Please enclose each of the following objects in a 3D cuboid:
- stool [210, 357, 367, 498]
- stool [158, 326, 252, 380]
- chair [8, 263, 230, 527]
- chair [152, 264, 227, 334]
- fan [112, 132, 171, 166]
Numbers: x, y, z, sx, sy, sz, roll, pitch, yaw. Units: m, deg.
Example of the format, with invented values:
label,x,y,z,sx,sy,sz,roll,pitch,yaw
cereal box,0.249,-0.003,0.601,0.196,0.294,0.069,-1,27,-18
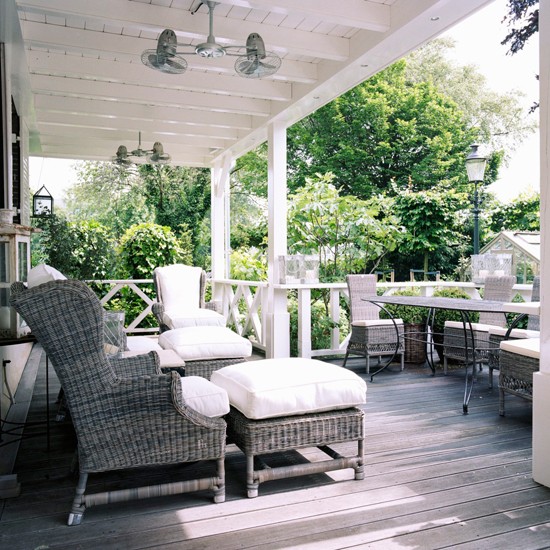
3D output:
label,x,y,z,sx,sy,sz,roll,pitch,yaw
stool,0.053,0.682,2.602,0.623,0.478,0.601,1,-3,-26
stool,-0.574,0.533,3.965,0.463,0.201,0.448,-1,4,-33
chair,-0.663,0.566,2.389,0.920,0.888,0.770,-2,-12,-9
chair,-0.847,0.285,5.039,0.629,0.667,0.691,-2,7,-40
fan,-1.574,-1.413,6.184,0.662,0.371,0.635,1,-2,-24
